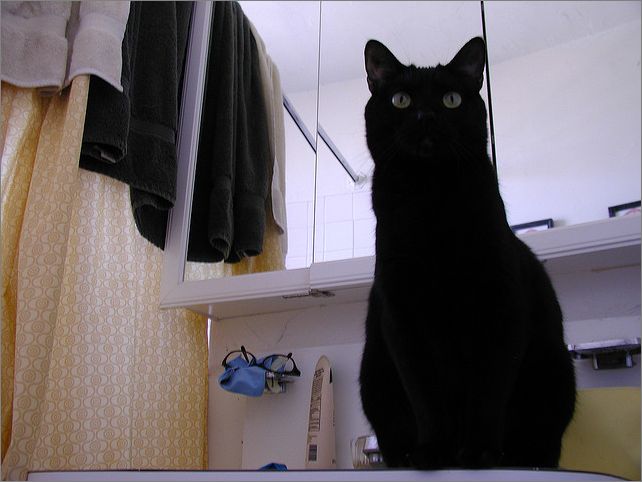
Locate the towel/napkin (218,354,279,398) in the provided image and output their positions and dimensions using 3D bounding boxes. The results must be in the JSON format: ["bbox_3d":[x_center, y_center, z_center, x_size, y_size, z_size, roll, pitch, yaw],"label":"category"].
[{"bbox_3d":[-0.215,0.374,1.783,0.102,0.120,0.045,-17,-51,-7],"label":"towel/napkin"}]

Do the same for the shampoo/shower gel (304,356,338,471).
[{"bbox_3d":[-0.003,0.455,1.747,0.085,0.292,0.129,-4,-10,6],"label":"shampoo/shower gel"}]

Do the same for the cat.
[{"bbox_3d":[0.258,0.098,1.487,0.362,0.967,0.603,-4,5,12],"label":"cat"}]
